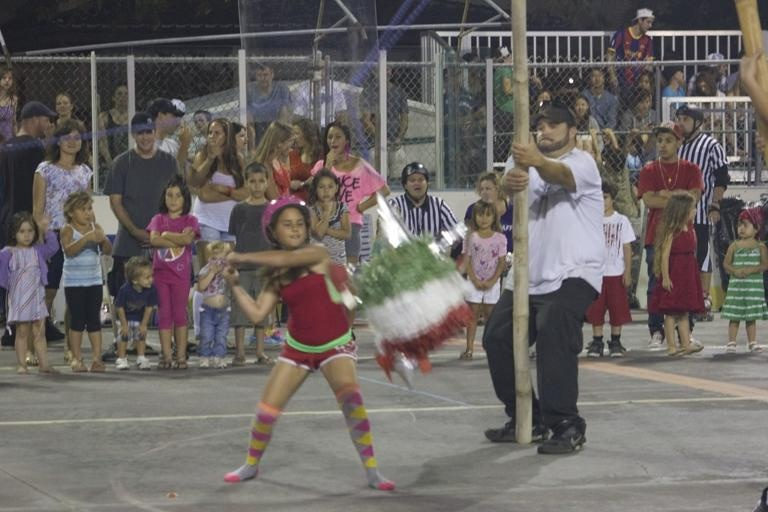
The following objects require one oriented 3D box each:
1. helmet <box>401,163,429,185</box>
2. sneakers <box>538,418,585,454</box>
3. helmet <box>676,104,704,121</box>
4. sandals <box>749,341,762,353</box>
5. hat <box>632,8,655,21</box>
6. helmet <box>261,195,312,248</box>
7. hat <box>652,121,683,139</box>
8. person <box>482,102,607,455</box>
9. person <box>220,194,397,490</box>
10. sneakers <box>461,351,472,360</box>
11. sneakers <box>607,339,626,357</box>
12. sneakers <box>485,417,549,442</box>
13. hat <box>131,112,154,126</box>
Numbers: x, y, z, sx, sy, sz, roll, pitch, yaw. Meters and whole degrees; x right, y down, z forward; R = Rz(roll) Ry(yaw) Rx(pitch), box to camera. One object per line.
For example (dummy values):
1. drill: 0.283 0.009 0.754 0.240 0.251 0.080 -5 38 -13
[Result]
1. helmet: 0.394 -1.085 17.093 0.301 0.254 0.328 0 8 1
2. sneakers: 1.704 1.730 12.571 0.234 0.237 0.531 -4 -2 40
3. helmet: 4.397 -2.048 18.878 0.360 0.199 0.272 15 11 4
4. sandals: 4.740 1.168 16.879 0.158 0.116 0.282 -1 0 14
5. hat: 4.464 -4.171 22.654 0.473 0.224 0.455 7 8 21
6. helmet: -0.865 -0.299 12.096 0.390 0.460 0.487 0 -39 -19
7. hat: 3.883 -1.704 18.015 0.272 0.235 0.461 1 26 5
8. person: 1.564 0.204 12.764 1.121 2.580 0.654 -1 -1 8
9. person: -0.724 0.789 11.929 1.383 2.659 0.475 -1 -1 -6
10. sneakers: 1.033 1.247 16.589 0.152 0.081 0.322 -1 0 5
11. sneakers: 2.949 1.188 16.829 0.169 0.160 0.384 -1 -7 7
12. sneakers: 1.272 1.710 13.007 0.668 0.281 0.226 1 -1 -1
13. hat: -3.000 -1.674 16.353 0.248 0.267 0.436 -1 0 -11
